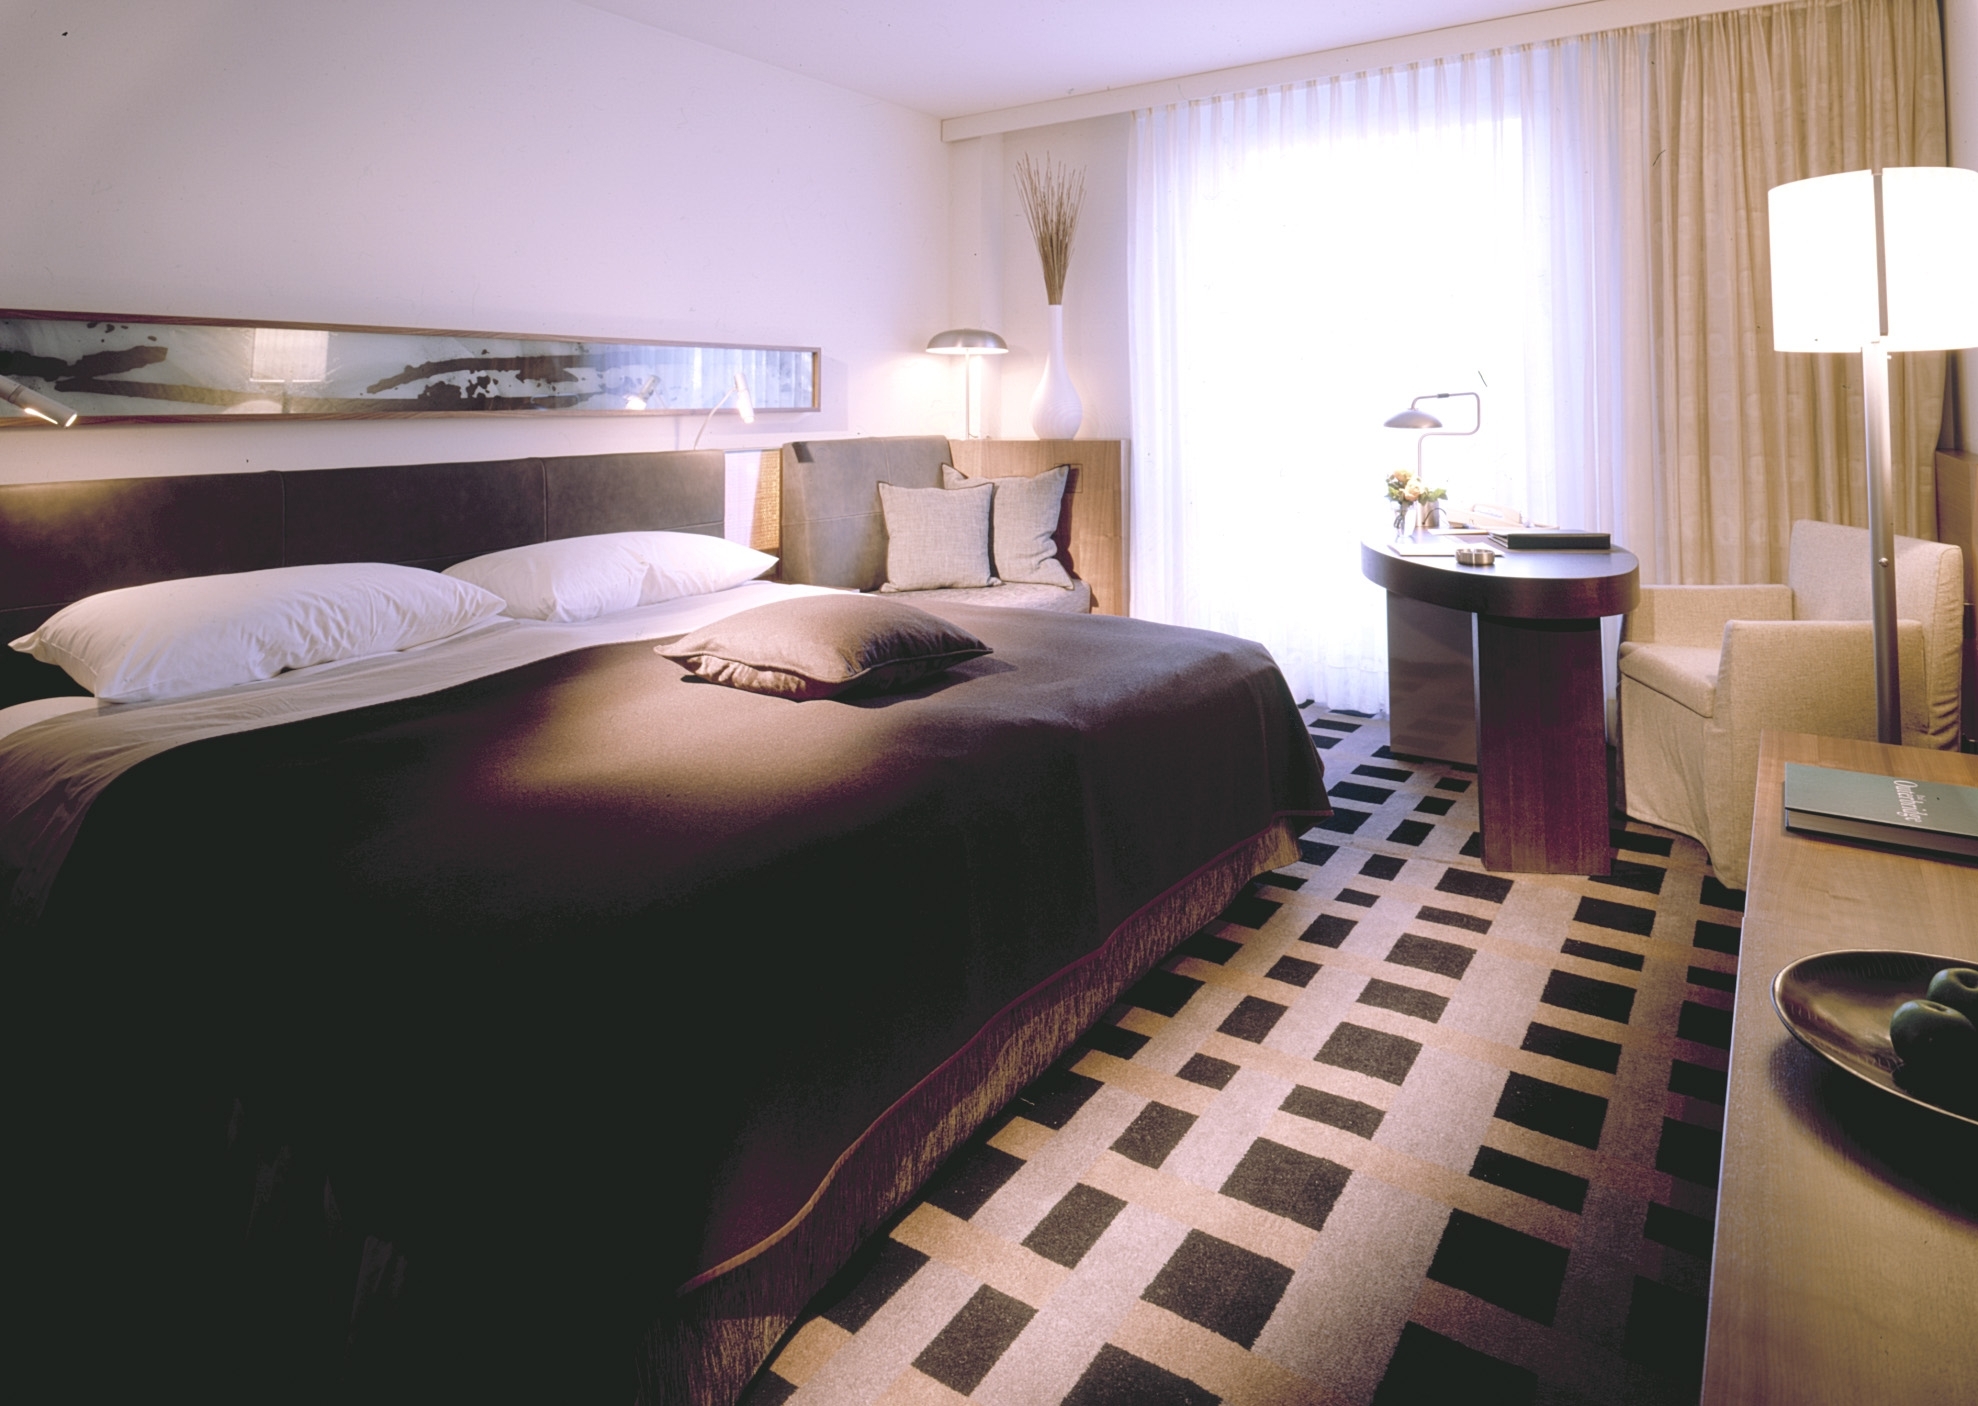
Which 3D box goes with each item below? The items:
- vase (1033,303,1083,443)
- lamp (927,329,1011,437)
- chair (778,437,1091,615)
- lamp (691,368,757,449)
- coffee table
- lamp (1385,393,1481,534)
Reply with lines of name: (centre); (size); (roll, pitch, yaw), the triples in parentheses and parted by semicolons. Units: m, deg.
vase: (0.320, -1.479, 5.959); (0.191, 0.583, 0.350); (3, 15, 23)
lamp: (-0.098, -1.438, 6.069); (0.412, 0.496, 0.427); (1, 7, 11)
chair: (-0.328, -0.647, 5.394); (1.238, 0.886, 0.659); (-6, 9, -38)
lamp: (-1.026, -1.116, 5.058); (0.320, 0.247, 0.219); (-12, 3, 1)
coffee table: (1.602, -0.002, 4.099); (0.646, 0.878, 0.701); (-2, 14, 2)
lamp: (1.629, -0.903, 4.887); (0.356, 0.480, 0.894); (2, 15, 18)
